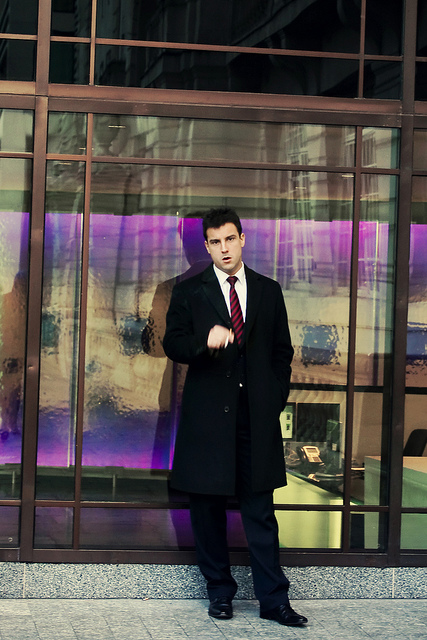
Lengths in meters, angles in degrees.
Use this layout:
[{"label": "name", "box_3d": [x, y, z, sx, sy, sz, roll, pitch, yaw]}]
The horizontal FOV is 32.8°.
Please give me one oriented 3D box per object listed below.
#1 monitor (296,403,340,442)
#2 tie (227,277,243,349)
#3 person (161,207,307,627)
[{"label": "monitor", "box_3d": [0.605, 0.599, 4.314, 0.277, 0.217, 0.069, 3, 0, 2]}, {"label": "tie", "box_3d": [0.112, -0.049, 3.695, 0.056, 0.326, 0.041, -5, -31, -1]}, {"label": "person", "box_3d": [0.073, 0.482, 3.705, 0.682, 2.079, 0.508, 6, -5, -29]}]
